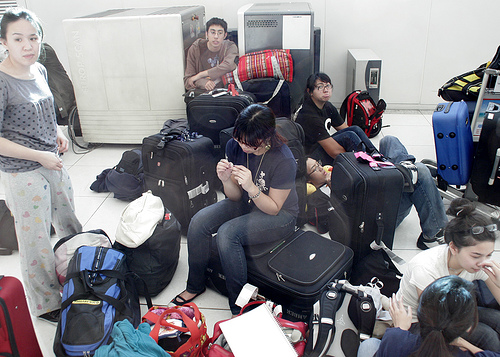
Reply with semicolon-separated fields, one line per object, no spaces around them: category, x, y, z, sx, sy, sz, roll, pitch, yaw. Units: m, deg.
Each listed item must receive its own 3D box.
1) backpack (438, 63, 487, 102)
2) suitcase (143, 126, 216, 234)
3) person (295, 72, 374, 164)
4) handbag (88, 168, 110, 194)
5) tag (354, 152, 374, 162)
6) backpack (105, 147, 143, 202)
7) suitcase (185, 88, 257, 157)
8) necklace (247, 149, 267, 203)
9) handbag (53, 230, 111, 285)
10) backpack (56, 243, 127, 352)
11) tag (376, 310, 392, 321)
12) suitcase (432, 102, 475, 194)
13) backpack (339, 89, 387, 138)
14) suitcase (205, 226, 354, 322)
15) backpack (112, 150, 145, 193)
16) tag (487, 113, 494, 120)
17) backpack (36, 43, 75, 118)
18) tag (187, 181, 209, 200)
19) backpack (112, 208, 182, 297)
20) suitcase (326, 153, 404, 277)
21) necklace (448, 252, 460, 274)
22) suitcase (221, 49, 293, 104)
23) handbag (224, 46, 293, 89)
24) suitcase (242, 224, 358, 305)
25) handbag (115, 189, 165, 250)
backpack;1.948;-0.838;3.437;0.414;0.164;0.303;-29;31;28
suitcase;-0.624;0.060;3.345;0.687;1.001;0.537;8;7;17
person;0.725;-0.476;3.177;0.571;0.778;0.881;-6;19;-5
handbag;-1.500;0.034;3.764;0.175;0.197;0.125;21;-15;3
tag;0.819;-0.161;2.707;0.071;0.023;0.070;25;12;-8
backpack;-1.127;-0.004;3.707;0.382;0.561;0.233;6;-9;28
suitcase;-0.337;-0.626;3.661;0.584;0.822;0.432;8;53;-2
necklace;0.047;-0.024;2.459;0.015;0.375;0.043;18;27;13
handbag;-1.127;0.509;2.649;0.396;0.440;0.306;3;11;2
backpack;-0.926;0.761;2.314;0.396;0.215;0.578;-1;48;-1
tag;0.730;0.741;2.048;0.041;0.017;0.054;-9;5;-41
suitcase;1.627;-0.246;3.015;0.261;0.749;0.474;-6;23;35
backpack;1.378;-0.720;4.579;0.418;0.515;0.396;4;19;38
suitcase;0.206;0.545;2.402;0.794;0.274;0.492;20;39;32
backpack;-1.132;-0.066;3.648;0.474;0.349;0.203;12;24;39
tag;1.785;-0.461;2.806;0.042;0.041;0.010;9;-8;34
backpack;-2.273;-1.154;4.496;0.276;0.853;0.524;-12;20;-22
tag;-0.424;0.102;3.101;0.146;0.054;0.112;-28;10;2
backpack;-0.686;0.459;2.768;0.554;0.586;0.408;-9;4;-38
suitcase;0.791;0.263;2.611;0.360;0.785;0.559;-4;25;-16
necklace;1.078;0.447;1.992;0.079;0.143;0.017;-9;19;-15
suitcase;0.155;-1.162;4.224;0.625;0.591;0.215;-4;-9;15
handbag;0.112;-1.198;4.000;0.556;0.449;0.175;-7;-25;12
suitcase;0.299;0.565;2.445;0.571;0.311;0.541;9;23;35
handbag;-0.733;0.318;2.650;0.295;0.144;0.356;32;69;31
